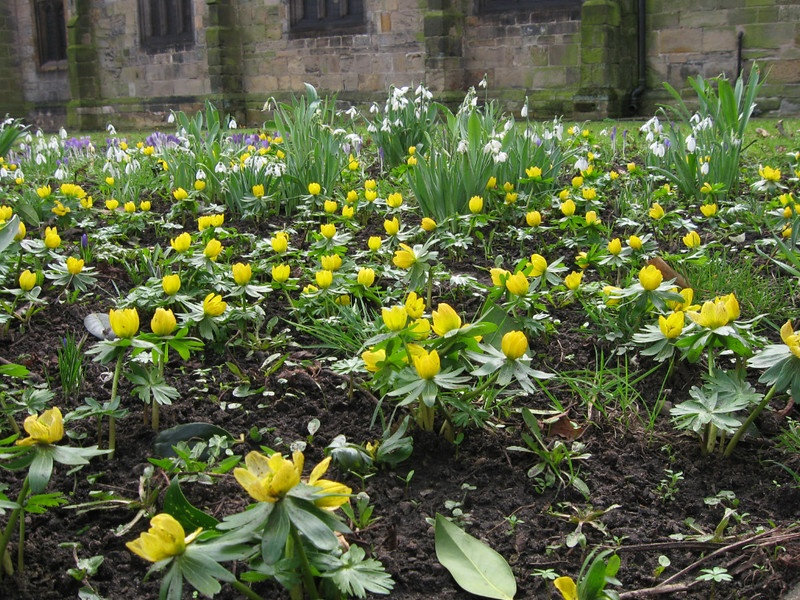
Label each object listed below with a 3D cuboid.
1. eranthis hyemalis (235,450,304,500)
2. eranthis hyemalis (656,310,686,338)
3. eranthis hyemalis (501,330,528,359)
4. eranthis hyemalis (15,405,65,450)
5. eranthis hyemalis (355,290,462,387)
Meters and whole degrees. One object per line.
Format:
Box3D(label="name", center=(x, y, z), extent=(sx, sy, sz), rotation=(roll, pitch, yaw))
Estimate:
Box3D(label="eranthis hyemalis", center=(-0.358, 0.460, 2.096), extent=(0.151, 0.112, 0.144), rotation=(-3, 11, 38))
Box3D(label="eranthis hyemalis", center=(0.961, 0.073, 2.789), extent=(0.085, 0.115, 0.090), rotation=(4, 19, 7))
Box3D(label="eranthis hyemalis", center=(0.373, 0.147, 2.568), extent=(0.080, 0.102, 0.078), rotation=(-6, 14, -32))
Box3D(label="eranthis hyemalis", center=(-1.024, 0.360, 2.241), extent=(0.102, 0.095, 0.124), rotation=(3, 27, 0))
Box3D(label="eranthis hyemalis", center=(0.032, 0.149, 2.646), extent=(0.318, 0.287, 0.356), rotation=(-6, 14, -13))
